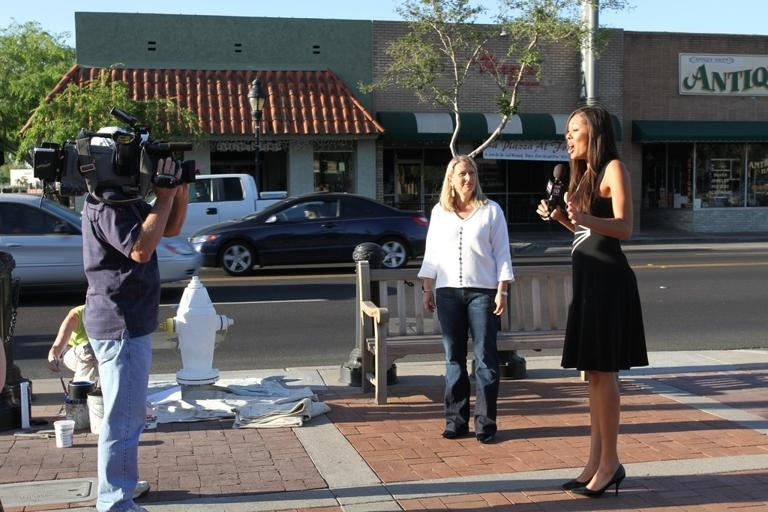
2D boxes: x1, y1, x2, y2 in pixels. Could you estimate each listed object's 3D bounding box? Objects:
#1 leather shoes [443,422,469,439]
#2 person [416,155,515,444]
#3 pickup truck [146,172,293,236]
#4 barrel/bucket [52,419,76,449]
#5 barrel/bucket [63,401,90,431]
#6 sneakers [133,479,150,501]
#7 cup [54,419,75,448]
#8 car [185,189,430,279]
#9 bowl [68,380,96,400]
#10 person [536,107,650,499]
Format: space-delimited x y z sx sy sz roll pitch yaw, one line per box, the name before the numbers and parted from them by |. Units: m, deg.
leather shoes | 0.777 1.894 11.054 0.320 0.114 0.112 2 0 -12
person | 0.914 0.434 11.110 0.889 2.938 1.186 -7 14 -28
pickup truck | -3.457 -1.217 23.572 2.376 1.033 1.354 -1 1 -11
barrel/bucket | -3.394 1.887 10.884 0.280 0.247 0.248 0 2 -1
barrel/bucket | -3.365 1.744 11.182 0.333 0.332 0.316 0 -2 0
sneakers | -2.370 2.267 9.933 0.097 0.102 0.254 6 17 8
cup | -3.407 1.868 10.797 0.268 0.253 0.259 1 3 0
car | -1.481 -0.450 21.041 4.630 1.413 1.870 1 -3 -4
bowl | -3.365 1.471 11.222 0.214 0.156 0.214 1 -7 0
person | 2.088 0.434 10.010 0.950 3.685 0.996 -2 12 -7
